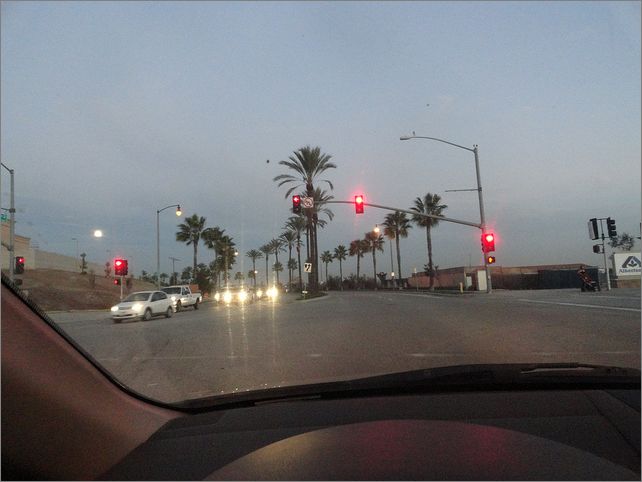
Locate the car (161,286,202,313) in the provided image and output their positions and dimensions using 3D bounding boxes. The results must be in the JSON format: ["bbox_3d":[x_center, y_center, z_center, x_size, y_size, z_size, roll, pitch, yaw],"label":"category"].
[{"bbox_3d":[-8.258,3.398,28.304,1.451,1.147,2.645,-4,-13,12],"label":"car"}]

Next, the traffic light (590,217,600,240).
[{"bbox_3d":[19.372,-0.850,33.834,0.563,1.386,0.359,-2,-5,-10],"label":"traffic light"}]

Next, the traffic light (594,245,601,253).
[{"bbox_3d":[18.185,0.515,31.403,0.398,0.318,0.455,-9,7,-8],"label":"traffic light"}]

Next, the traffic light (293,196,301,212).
[{"bbox_3d":[-1.182,-1.891,23.515,0.368,0.834,0.907,-3,-6,-2],"label":"traffic light"}]
